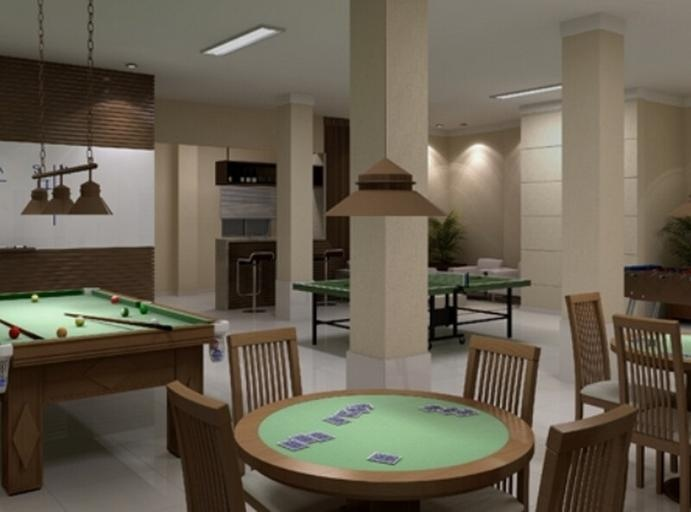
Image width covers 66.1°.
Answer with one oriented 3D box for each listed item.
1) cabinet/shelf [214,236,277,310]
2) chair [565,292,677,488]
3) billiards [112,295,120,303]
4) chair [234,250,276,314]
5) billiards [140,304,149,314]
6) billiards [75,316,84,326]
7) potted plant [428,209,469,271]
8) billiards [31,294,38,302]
[{"bbox_3d":[-2.059,0.372,10.873,1.361,1.606,0.787,-1,3,-29],"label":"cabinet/shelf"},{"bbox_3d":[2.061,0.964,4.231,0.617,1.389,0.687,0,5,-36],"label":"chair"},{"bbox_3d":[-2.306,0.427,5.321,0.069,0.072,0.070,2,9,22],"label":"billiards"},{"bbox_3d":[-1.805,0.454,10.651,0.701,1.349,0.601,0,4,-36],"label":"chair"},{"bbox_3d":[-1.825,0.469,4.809,0.073,0.095,0.074,-5,11,-26],"label":"billiards"},{"bbox_3d":[-2.151,0.524,4.292,0.068,0.084,0.069,-9,12,-29],"label":"billiards"},{"bbox_3d":[2.481,-0.339,12.962,0.869,1.328,0.490,1,5,11],"label":"potted plant"},{"bbox_3d":[-3.245,0.435,5.539,0.076,0.093,0.076,-6,8,-42],"label":"billiards"}]
